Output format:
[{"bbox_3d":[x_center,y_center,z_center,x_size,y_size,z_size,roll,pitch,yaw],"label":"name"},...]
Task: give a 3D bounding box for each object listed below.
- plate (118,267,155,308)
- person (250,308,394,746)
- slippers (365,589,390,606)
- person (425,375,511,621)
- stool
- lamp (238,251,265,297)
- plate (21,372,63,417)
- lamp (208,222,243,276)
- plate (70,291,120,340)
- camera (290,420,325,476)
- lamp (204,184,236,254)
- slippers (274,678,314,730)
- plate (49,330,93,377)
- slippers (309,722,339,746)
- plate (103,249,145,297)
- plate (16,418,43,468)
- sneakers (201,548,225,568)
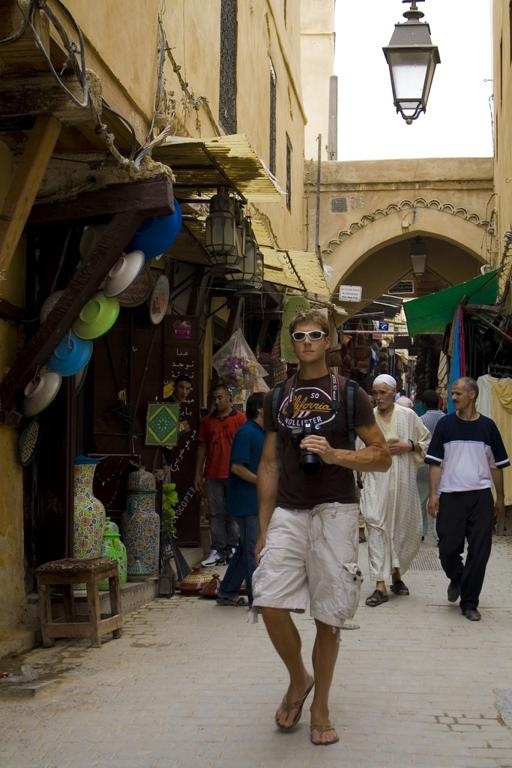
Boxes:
[{"bbox_3d":[-1.089,-0.888,6.789,0.166,0.444,0.439,16,-4,-22],"label":"plate"},{"bbox_3d":[0.244,0.497,2.702,0.516,1.582,0.473,-1,-1,5],"label":"person"},{"bbox_3d":[0.939,1.665,5.614,0.078,0.090,0.233,-5,-9,28],"label":"slippers"},{"bbox_3d":[1.568,0.836,5.413,0.629,1.757,0.587,0,-2,-37],"label":"person"},{"bbox_3d":[-1.030,1.293,4.446,0.530,0.625,0.601,-1,-6,5],"label":"stool"},{"bbox_3d":[-0.036,-1.253,8.026,0.391,0.526,0.382,-3,8,-26],"label":"lamp"},{"bbox_3d":[-1.289,0.054,4.360,0.211,0.276,0.149,0,-1,-11],"label":"plate"},{"bbox_3d":[-0.276,-1.343,6.849,0.397,0.569,0.386,1,11,7],"label":"lamp"},{"bbox_3d":[-1.036,-0.440,4.715,0.285,0.293,0.086,-39,-44,13],"label":"plate"},{"bbox_3d":[0.192,0.232,2.634,0.120,0.198,0.081,-14,-46,2],"label":"camera"},{"bbox_3d":[-0.335,-1.508,6.732,0.277,0.567,0.359,-1,-1,5],"label":"lamp"},{"bbox_3d":[0.150,1.215,2.721,0.078,0.059,0.221,-7,26,29],"label":"slippers"},{"bbox_3d":[-1.218,-0.197,4.651,0.221,0.295,0.444,-1,-1,4],"label":"plate"},{"bbox_3d":[0.236,1.221,2.507,0.099,0.051,0.114,-1,-1,5],"label":"slippers"},{"bbox_3d":[-0.852,-0.739,4.730,0.267,0.320,0.213,0,-1,-37],"label":"plate"},{"bbox_3d":[-1.408,0.363,4.484,0.095,0.253,0.241,13,-8,20],"label":"plate"},{"bbox_3d":[-0.457,1.828,7.531,0.108,0.127,0.264,-7,-11,25],"label":"sneakers"}]
